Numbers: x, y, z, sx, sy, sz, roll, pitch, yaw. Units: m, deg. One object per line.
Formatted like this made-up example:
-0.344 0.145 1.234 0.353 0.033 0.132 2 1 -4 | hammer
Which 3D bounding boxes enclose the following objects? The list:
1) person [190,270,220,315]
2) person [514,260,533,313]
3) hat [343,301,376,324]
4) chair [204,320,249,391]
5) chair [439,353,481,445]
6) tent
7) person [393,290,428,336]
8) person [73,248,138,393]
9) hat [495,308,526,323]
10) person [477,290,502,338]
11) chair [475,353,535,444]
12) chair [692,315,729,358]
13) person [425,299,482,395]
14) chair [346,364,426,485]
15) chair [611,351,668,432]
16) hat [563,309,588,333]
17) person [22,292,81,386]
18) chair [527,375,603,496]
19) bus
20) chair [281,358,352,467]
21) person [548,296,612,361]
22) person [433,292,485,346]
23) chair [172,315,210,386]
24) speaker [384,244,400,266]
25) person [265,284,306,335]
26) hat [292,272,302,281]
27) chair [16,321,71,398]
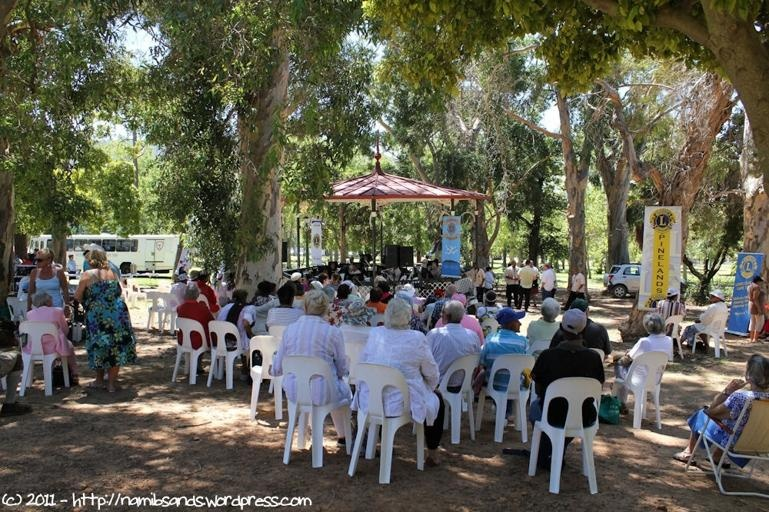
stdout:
-3.843 0.709 13.756 0.581 0.982 0.572 10 17 3 | person
4.753 0.963 21.886 0.508 1.749 0.520 5 26 10 | person
-0.438 0.935 10.446 0.346 0.223 0.422 4 8 1 | hat
-2.906 1.719 11.783 0.616 1.250 1.027 -1 6 -18 | chair
1.007 2.108 9.766 0.754 1.290 0.694 0 -2 41 | chair
0.424 -1.908 20.987 4.127 4.225 5.095 2 3 27 | tent
0.372 0.954 11.454 0.538 0.963 0.661 0 -8 3 | person
-4.701 0.882 10.933 0.889 2.051 0.373 -2 7 -24 | person
1.955 0.974 9.991 0.413 0.188 0.278 -10 12 -16 | hat
2.035 1.144 12.716 0.587 1.238 0.657 0 10 3 | person
1.877 2.113 9.932 0.700 1.346 0.843 1 4 -11 | chair
7.461 1.782 15.044 0.649 1.042 0.666 5 -1 12 | chair
1.082 1.258 9.879 0.849 1.709 0.826 -11 38 -4 | person
0.018 2.136 8.584 0.971 1.510 0.732 1 6 -4 | chair
4.297 2.069 10.628 0.737 1.200 1.327 7 8 43 | chair
2.483 0.866 8.532 0.294 0.303 0.201 3 6 17 | hat
-5.904 1.581 11.035 0.873 1.606 1.086 -1 -11 -12 | person
2.351 2.286 8.452 0.885 1.449 0.620 3 6 14 | chair
-13.175 -0.138 32.054 6.077 1.971 1.961 3 -4 4 | bus
-0.913 2.061 8.867 0.934 1.481 0.622 1 6 -4 | chair
3.195 1.159 9.995 0.733 0.681 1.208 3 5 10 | person
1.213 1.215 10.661 0.874 1.139 0.573 1 -6 11 | person
-3.511 1.696 11.884 0.639 1.098 0.693 5 0 35 | chair
0.246 0.049 23.125 0.599 1.029 0.545 1 -2 -3 | speaker
-1.648 0.912 10.735 0.537 1.124 0.554 6 14 4 | person
-1.954 0.480 14.429 0.228 0.175 0.080 -15 -53 48 | hat
-5.846 1.643 11.041 0.708 1.302 0.796 6 10 0 | chair
